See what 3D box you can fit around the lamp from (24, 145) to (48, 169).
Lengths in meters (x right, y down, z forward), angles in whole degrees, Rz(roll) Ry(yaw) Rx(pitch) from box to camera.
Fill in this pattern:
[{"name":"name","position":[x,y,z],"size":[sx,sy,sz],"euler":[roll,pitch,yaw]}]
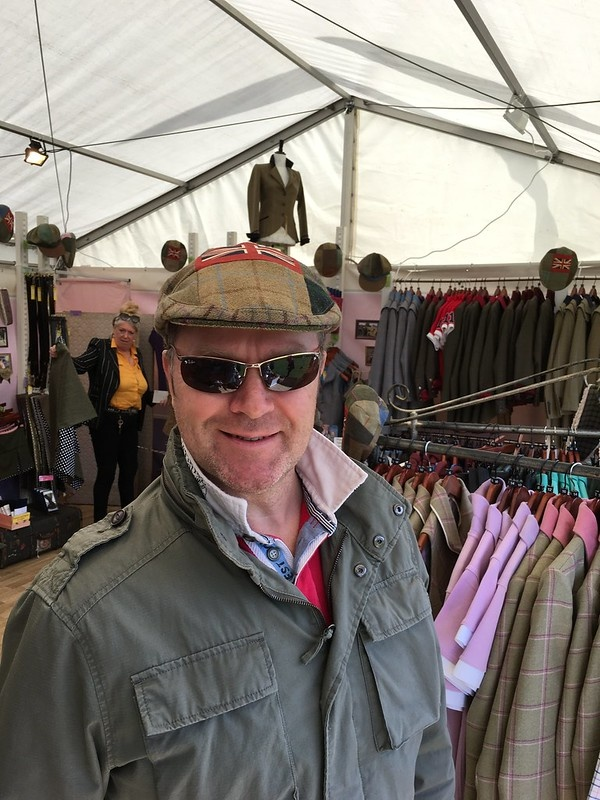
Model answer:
[{"name":"lamp","position":[-2.055,-1.964,4.594],"size":[0.110,0.184,0.291],"euler":[-2,8,0]}]

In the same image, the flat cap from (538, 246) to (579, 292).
[{"name":"flat cap","position":[1.862,-0.959,4.216],"size":[0.286,0.302,0.081],"euler":[16,15,15]}]

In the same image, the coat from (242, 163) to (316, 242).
[{"name":"coat","position":[-0.169,-1.550,4.493],"size":[0.461,0.650,0.210],"euler":[-8,9,-39]}]

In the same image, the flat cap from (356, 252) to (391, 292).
[{"name":"flat cap","position":[0.618,-1.087,4.876],"size":[0.238,0.328,0.144],"euler":[9,23,25]}]
